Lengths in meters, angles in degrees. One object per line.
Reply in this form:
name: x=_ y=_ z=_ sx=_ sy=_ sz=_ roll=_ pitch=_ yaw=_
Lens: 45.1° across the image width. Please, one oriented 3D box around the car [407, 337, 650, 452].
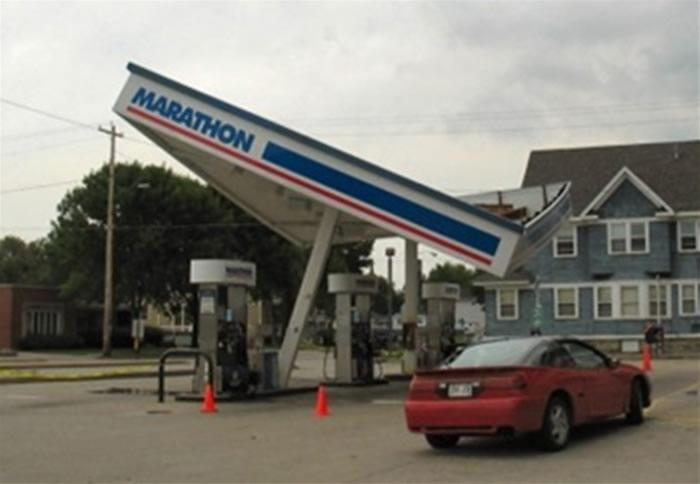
car: x=3.630 y=3.023 z=17.091 sx=4.735 sy=2.187 sz=1.814 roll=4 pitch=-9 yaw=-32
